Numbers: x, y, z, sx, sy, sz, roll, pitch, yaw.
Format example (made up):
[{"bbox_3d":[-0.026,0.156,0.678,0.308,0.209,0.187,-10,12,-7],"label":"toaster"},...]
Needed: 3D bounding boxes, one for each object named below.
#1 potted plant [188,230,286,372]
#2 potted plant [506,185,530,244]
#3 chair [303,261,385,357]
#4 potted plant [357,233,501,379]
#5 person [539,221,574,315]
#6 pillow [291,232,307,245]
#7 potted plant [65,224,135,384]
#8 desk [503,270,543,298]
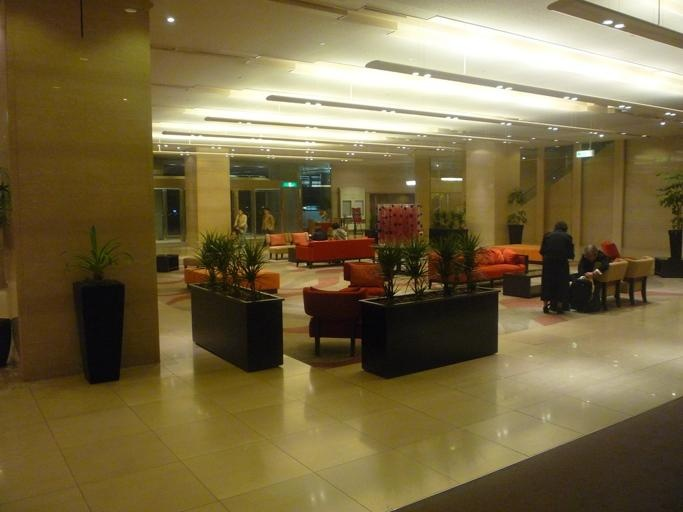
[{"bbox_3d":[-1.677,0.719,7.667,0.954,2.051,2.143,-5,8,-31],"label":"potted plant"},{"bbox_3d":[6.579,-1.503,18.805,0.532,2.057,0.868,3,7,31],"label":"potted plant"},{"bbox_3d":[0.046,0.779,7.714,1.149,1.194,1.420,1,6,3],"label":"chair"},{"bbox_3d":[1.180,0.730,6.815,1.949,1.639,0.723,-5,6,-33],"label":"potted plant"},{"bbox_3d":[4.215,0.222,9.855,0.698,1.743,0.516,-3,7,-18],"label":"person"},{"bbox_3d":[-1.685,-0.692,19.794,0.809,0.554,0.426,-1,-5,-14],"label":"pillow"},{"bbox_3d":[-3.054,0.578,6.225,0.592,1.884,0.594,-4,7,-25],"label":"potted plant"},{"bbox_3d":[4.417,0.652,11.847,1.163,0.488,0.785,-5,8,-37],"label":"desk"}]
